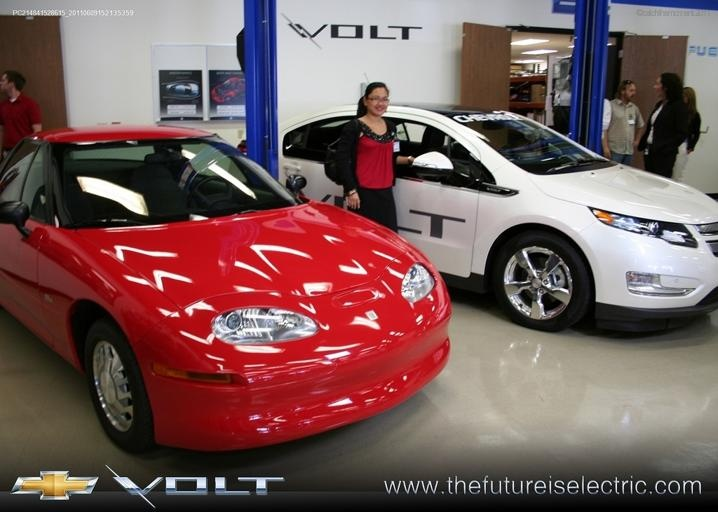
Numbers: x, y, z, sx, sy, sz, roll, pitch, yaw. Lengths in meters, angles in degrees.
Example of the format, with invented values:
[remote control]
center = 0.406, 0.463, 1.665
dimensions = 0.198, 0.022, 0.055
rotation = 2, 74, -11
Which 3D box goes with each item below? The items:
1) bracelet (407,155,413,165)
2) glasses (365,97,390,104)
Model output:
[bracelet]
center = 0.436, -0.808, 4.095
dimensions = 0.047, 0.067, 0.062
rotation = -2, 30, -2
[glasses]
center = 0.154, -1.265, 3.955
dimensions = 0.157, 0.051, 0.060
rotation = -7, 19, -13
